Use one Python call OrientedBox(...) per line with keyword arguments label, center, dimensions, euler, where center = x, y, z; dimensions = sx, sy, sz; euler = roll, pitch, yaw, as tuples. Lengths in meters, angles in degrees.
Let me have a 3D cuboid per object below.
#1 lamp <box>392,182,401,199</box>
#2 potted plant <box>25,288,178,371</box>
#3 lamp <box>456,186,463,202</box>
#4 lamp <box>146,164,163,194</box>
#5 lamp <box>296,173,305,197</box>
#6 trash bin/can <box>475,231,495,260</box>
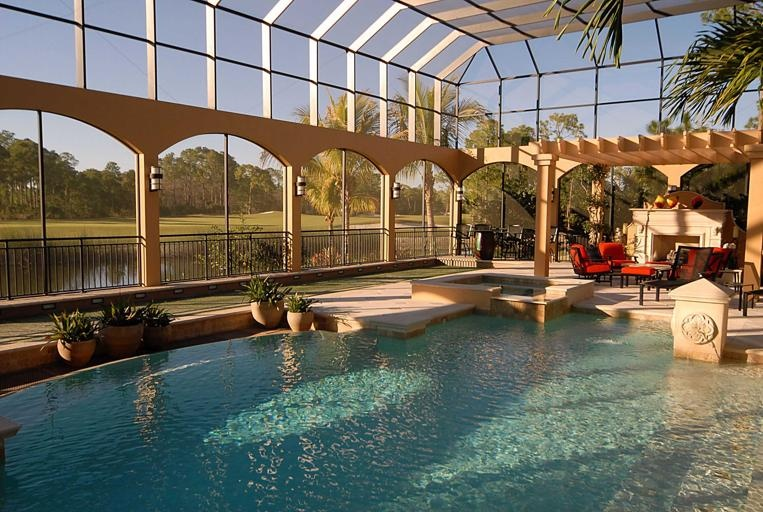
OrientedBox(label="lamp", center=(0.587, -2.569, 19.450), dimensions=(0.278, 0.666, 0.748), euler=(3, 13, 9))
OrientedBox(label="potted plant", center=(-5.005, 1.434, 9.014), dimensions=(1.906, 0.960, 0.587), euler=(-9, 17, -36))
OrientedBox(label="lamp", center=(3.383, -2.693, 21.705), dimensions=(0.224, 0.654, 0.400), euler=(-2, 14, -7))
OrientedBox(label="lamp", center=(-5.871, -1.980, 12.682), dimensions=(0.313, 0.655, 0.288), euler=(0, 14, -3))
OrientedBox(label="lamp", center=(-2.615, -2.230, 15.764), dimensions=(0.278, 0.701, 0.564), euler=(-2, 14, -10))
OrientedBox(label="trash bin/can", center=(4.124, -0.395, 19.679), dimensions=(0.732, 1.133, 0.579), euler=(1, 14, 2))
